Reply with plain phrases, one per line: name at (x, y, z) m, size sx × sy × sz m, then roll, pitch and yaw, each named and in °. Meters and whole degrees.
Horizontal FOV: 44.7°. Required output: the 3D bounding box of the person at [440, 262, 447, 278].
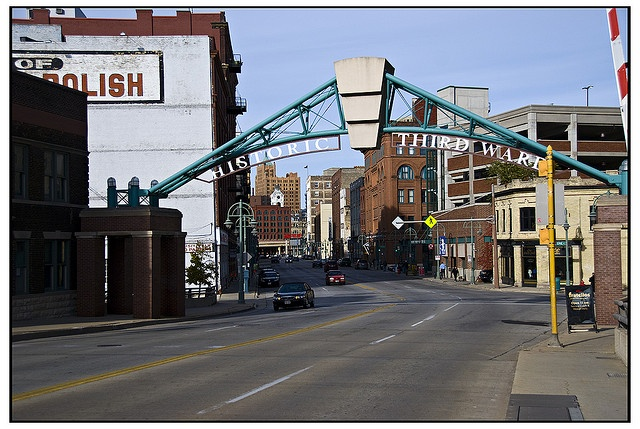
person at (13.953, 6.608, 88.321) m, size 0.540 × 1.640 × 1.538 m, roll -1°, pitch -5°, yaw 18°

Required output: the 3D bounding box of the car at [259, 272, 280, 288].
car at (-5.183, 6.801, 79.514) m, size 1.843 × 1.561 × 2.971 m, roll 0°, pitch -5°, yaw 0°

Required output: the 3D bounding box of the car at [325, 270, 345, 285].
car at (1.555, 6.677, 79.916) m, size 1.787 × 1.501 × 2.206 m, roll 0°, pitch -5°, yaw 0°

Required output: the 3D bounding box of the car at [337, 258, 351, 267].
car at (4.560, 9.150, 145.091) m, size 1.475 × 1.177 × 2.438 m, roll 0°, pitch -11°, yaw -4°

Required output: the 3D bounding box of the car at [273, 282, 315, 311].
car at (-1.719, 5.562, 51.937) m, size 2.447 × 1.809 × 2.956 m, roll -1°, pitch -5°, yaw 18°

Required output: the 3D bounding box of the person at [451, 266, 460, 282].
person at (15.065, 6.721, 86.203) m, size 1.472 × 1.990 × 0.722 m, roll 1°, pitch -5°, yaw -6°

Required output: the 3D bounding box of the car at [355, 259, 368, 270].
car at (6.810, 8.359, 126.916) m, size 1.446 × 1.200 × 2.401 m, roll 1°, pitch 2°, yaw 0°
